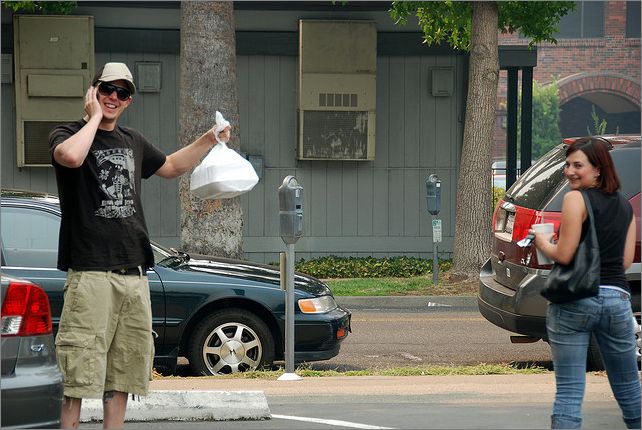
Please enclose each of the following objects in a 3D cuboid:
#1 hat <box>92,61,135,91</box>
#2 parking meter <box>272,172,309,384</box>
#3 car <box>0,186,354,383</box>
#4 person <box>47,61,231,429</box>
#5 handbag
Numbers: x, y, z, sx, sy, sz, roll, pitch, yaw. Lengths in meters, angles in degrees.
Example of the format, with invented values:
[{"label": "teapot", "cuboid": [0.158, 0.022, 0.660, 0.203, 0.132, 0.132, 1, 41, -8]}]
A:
[{"label": "hat", "cuboid": [-2.019, -1.383, 10.763, 0.374, 0.255, 0.470, 17, -11, -37]}, {"label": "parking meter", "cuboid": [-0.369, 0.725, 13.026, 0.263, 2.403, 0.615, 0, 0, -1]}, {"label": "car", "cuboid": [-1.558, 0.809, 13.605, 4.427, 1.633, 1.860, 1, 2, -8]}, {"label": "person", "cuboid": [-2.027, 0.288, 10.644, 1.207, 3.557, 0.393, 0, 0, -16]}, {"label": "handbag", "cuboid": [2.475, 0.498, 10.726, 0.317, 0.783, 0.555, 22, -18, -39]}]
